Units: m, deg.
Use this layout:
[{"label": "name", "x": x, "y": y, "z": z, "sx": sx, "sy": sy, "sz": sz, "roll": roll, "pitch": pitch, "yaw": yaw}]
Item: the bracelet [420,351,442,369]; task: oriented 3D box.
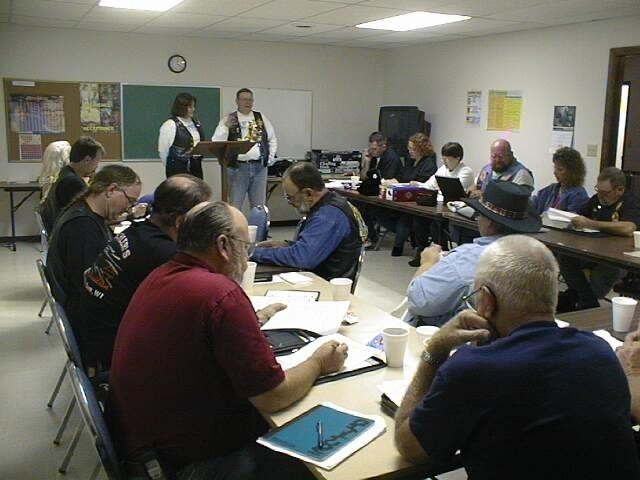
[{"label": "bracelet", "x": 0.330, "y": 0.356, "z": 1.498, "sx": 0.044, "sy": 0.017, "sz": 0.044, "roll": 19, "pitch": 2, "yaw": -1}]

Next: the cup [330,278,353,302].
[{"label": "cup", "x": 0.100, "y": 0.241, "z": 2.470, "sx": 0.099, "sy": 0.080, "sz": 0.104, "roll": -1, "pitch": 3, "yaw": 0}]

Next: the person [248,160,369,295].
[{"label": "person", "x": -0.074, "y": 0.163, "z": 3.485, "sx": 0.809, "sy": 1.345, "sz": 0.543, "roll": -5, "pitch": 21, "yaw": -23}]

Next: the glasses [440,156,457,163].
[{"label": "glasses", "x": 1.581, "y": -0.994, "z": 6.045, "sx": 0.114, "sy": 0.069, "sz": 0.088, "roll": 7, "pitch": 1, "yaw": -13}]

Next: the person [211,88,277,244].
[{"label": "person", "x": -1.002, "y": -0.964, "z": 6.832, "sx": 0.944, "sy": 2.122, "sz": 0.626, "roll": -8, "pitch": 19, "yaw": -33}]

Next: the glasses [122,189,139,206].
[{"label": "glasses", "x": -1.113, "y": -0.248, "z": 2.922, "sx": 0.022, "sy": 0.075, "sz": 0.072, "roll": -25, "pitch": -8, "yaw": 13}]

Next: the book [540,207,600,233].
[{"label": "book", "x": 2.083, "y": -0.175, "z": 4.351, "sx": 0.342, "sy": 0.117, "sz": 0.262, "roll": -6, "pitch": 11, "yaw": -31}]

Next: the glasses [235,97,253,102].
[{"label": "glasses", "x": -0.991, "y": -1.825, "z": 6.487, "sx": 0.197, "sy": 0.077, "sz": 0.157, "roll": -1, "pitch": 13, "yaw": -8}]

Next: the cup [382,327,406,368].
[{"label": "cup", "x": 0.287, "y": 0.414, "z": 1.924, "sx": 0.114, "sy": 0.134, "sz": 0.115, "roll": 3, "pitch": -8, "yaw": 0}]

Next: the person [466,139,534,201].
[{"label": "person", "x": 2.031, "y": -0.752, "z": 5.619, "sx": 0.470, "sy": 0.676, "sz": 0.793, "roll": -6, "pitch": 15, "yaw": -25}]

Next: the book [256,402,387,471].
[{"label": "book", "x": 0.004, "y": 0.599, "z": 1.528, "sx": 0.182, "sy": 0.021, "sz": 0.195, "roll": 4, "pitch": 13, "yaw": 29}]

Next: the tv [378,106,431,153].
[{"label": "tv", "x": 1.294, "y": -1.668, "z": 7.549, "sx": 0.465, "sy": 0.614, "sz": 0.852, "roll": -8, "pitch": 7, "yaw": -23}]

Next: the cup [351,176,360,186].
[{"label": "cup", "x": 0.470, "y": -0.795, "z": 6.754, "sx": 0.155, "sy": 0.174, "sz": 0.156, "roll": 0, "pitch": 5, "yaw": 0}]

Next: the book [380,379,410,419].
[{"label": "book", "x": 0.250, "y": 0.535, "z": 1.707, "sx": 0.100, "sy": 0.025, "sz": 0.104, "roll": 3, "pitch": 7, "yaw": 18}]

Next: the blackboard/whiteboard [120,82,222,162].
[{"label": "blackboard/whiteboard", "x": -2.300, "y": -1.704, "z": 7.309, "sx": 1.472, "sy": 1.127, "sz": 0.059, "roll": 5, "pitch": 6, "yaw": 20}]
